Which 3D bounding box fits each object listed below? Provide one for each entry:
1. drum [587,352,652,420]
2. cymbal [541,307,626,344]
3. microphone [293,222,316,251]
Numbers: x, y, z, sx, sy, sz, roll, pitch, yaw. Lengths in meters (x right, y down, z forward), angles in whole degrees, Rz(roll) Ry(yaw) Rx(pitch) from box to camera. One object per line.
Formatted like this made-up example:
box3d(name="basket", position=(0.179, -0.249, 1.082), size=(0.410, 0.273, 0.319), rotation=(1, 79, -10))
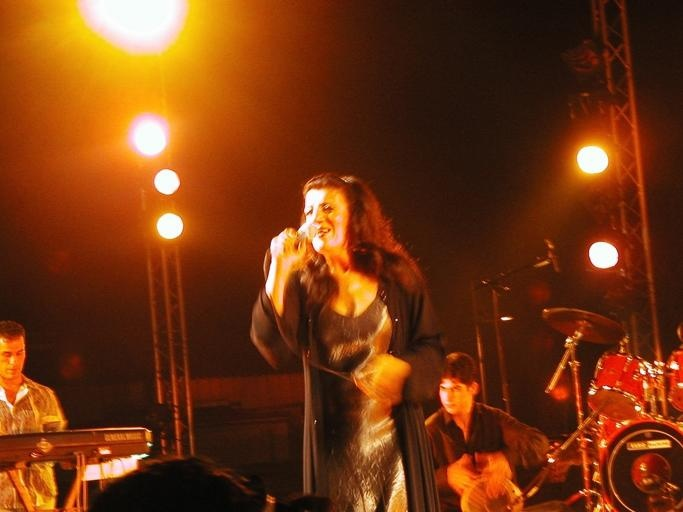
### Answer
box3d(name="drum", position=(2.388, 1.127, 6.646), size=(0.414, 0.650, 0.405), rotation=(-4, -1, 0))
box3d(name="cymbal", position=(2.127, 0.611, 6.828), size=(0.499, 0.351, 0.608), rotation=(0, -4, -25))
box3d(name="microphone", position=(-0.222, -0.121, 4.664), size=(0.090, 0.141, 0.144), rotation=(4, -43, -6))
